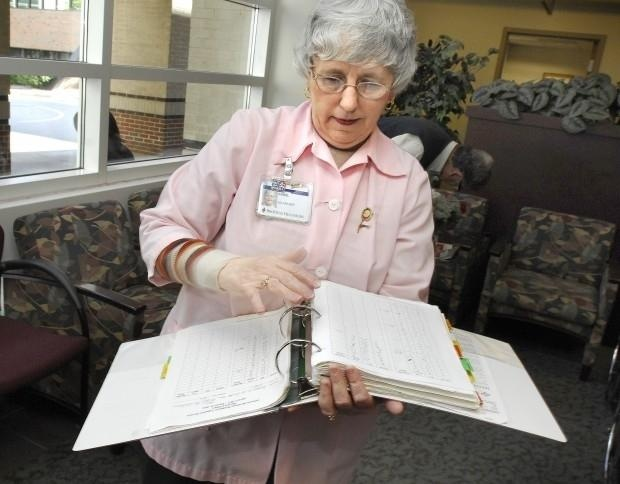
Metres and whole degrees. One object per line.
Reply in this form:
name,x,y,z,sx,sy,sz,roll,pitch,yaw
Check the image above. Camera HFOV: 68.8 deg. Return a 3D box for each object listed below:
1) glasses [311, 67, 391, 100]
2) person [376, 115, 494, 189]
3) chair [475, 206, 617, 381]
glasses,0.101,-0.378,1.107,0.179,0.049,0.042,8,21,1
person,1.139,-0.775,3.882,1.060,0.359,0.679,35,30,0
chair,1.718,0.369,3.216,0.852,1.116,0.807,19,14,21
